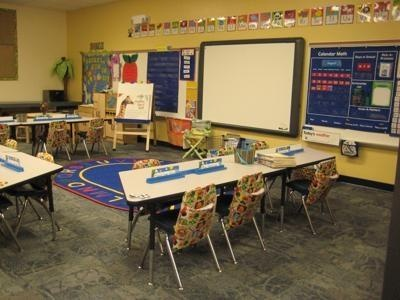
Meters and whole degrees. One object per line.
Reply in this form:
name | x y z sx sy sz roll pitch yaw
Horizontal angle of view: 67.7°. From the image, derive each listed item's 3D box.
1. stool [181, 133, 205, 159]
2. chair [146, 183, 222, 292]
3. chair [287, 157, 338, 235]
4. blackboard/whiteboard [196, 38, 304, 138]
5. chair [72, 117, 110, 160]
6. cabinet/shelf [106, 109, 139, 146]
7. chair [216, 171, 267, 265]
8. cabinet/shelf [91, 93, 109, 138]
stool | -0.153 -0.125 8.502 0.649 0.846 0.562 5 9 12
chair | -0.183 0.841 3.204 0.734 0.976 0.645 12 15 36
chair | 1.722 0.637 4.681 0.772 0.991 0.772 7 6 33
blackboard/whiteboard | 1.358 -1.586 7.582 2.605 2.051 0.174 9 11 40
chair | -3.025 -0.372 8.191 0.761 1.026 0.684 6 8 23
cabinet/shelf | -2.716 -0.783 10.412 1.065 1.376 1.439 -4 13 -23
chair | 0.387 0.767 3.752 0.635 1.022 0.806 -5 10 -37
cabinet/shelf | -3.481 -1.265 10.904 0.490 1.594 0.710 10 9 31
